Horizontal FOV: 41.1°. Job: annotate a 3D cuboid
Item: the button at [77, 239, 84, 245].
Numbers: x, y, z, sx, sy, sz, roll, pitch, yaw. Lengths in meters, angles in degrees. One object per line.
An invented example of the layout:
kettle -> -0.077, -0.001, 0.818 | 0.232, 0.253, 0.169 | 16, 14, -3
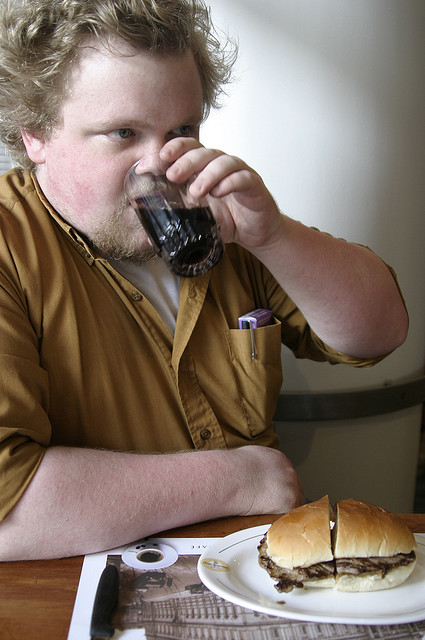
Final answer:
button -> -0.262, -0.158, 1.126 | 0.014, 0.003, 0.003 | 39, 45, 24

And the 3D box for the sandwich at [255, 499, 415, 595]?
sandwich -> 0.157, 0.291, 0.730 | 0.129, 0.043, 0.110 | 0, 4, -2

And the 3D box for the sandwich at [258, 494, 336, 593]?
sandwich -> 0.108, 0.302, 0.737 | 0.095, 0.050, 0.135 | 0, 31, 4

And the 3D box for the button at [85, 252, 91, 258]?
button -> -0.249, -0.134, 1.139 | 0.009, 0.008, 0.002 | 7, 30, 25

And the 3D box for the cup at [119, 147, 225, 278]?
cup -> -0.068, -0.175, 0.902 | 0.146, 0.199, 0.172 | -2, 0, 40

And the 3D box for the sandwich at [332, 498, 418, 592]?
sandwich -> 0.212, 0.287, 0.731 | 0.091, 0.054, 0.092 | 1, 3, 9
